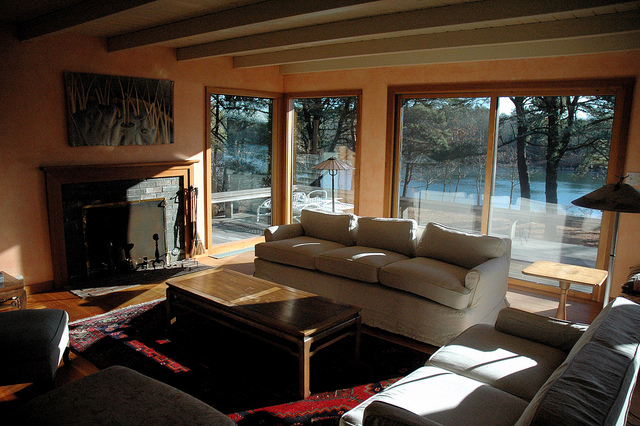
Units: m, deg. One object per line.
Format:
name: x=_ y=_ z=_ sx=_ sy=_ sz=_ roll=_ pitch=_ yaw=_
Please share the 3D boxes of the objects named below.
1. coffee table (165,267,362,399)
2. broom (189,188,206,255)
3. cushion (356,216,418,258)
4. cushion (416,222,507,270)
coffee table: x=-0.710 y=1.099 z=4.520 sx=2.169 sy=0.521 sz=0.851 roll=8 pitch=12 yaw=38
broom: x=-1.960 y=0.116 z=6.690 sx=0.170 sy=1.042 sz=0.267 roll=3 pitch=11 yaw=21
cushion: x=0.928 y=0.248 z=5.392 sx=0.857 sy=0.440 sz=0.404 roll=14 pitch=12 yaw=36
cushion: x=1.594 y=0.344 z=4.812 sx=1.073 sy=0.431 sz=0.423 roll=3 pitch=2 yaw=39
